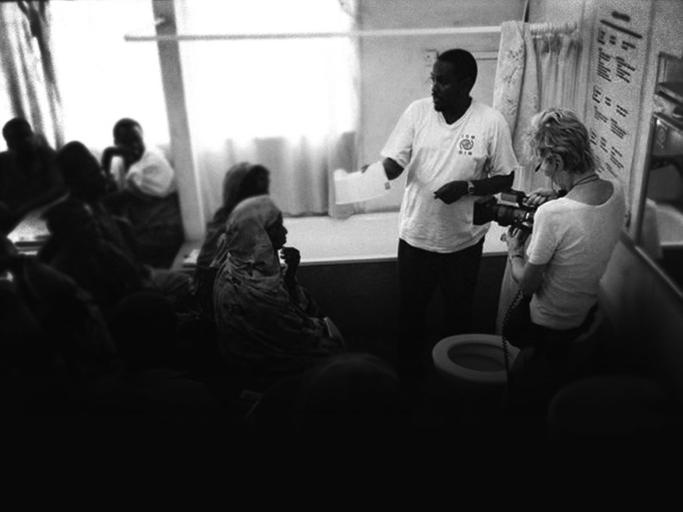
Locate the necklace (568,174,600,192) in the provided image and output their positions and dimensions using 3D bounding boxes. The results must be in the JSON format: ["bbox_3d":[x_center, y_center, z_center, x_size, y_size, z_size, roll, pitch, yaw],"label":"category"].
[{"bbox_3d":[0.712,-0.212,1.520,0.048,0.016,0.059,-13,-17,-37],"label":"necklace"}]

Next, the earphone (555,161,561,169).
[{"bbox_3d":[0.626,-0.262,1.514,0.014,0.019,0.006,1,11,41],"label":"earphone"}]

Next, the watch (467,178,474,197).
[{"bbox_3d":[0.454,-0.238,1.835,0.024,0.040,0.037,-3,-1,1],"label":"watch"}]

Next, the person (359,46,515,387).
[{"bbox_3d":[0.384,-0.128,1.919,0.438,1.166,0.218,-13,25,-24],"label":"person"}]

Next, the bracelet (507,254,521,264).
[{"bbox_3d":[0.570,0.009,1.727,0.027,0.033,0.033,2,-8,-7],"label":"bracelet"}]

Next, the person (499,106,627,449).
[{"bbox_3d":[0.733,0.122,1.706,0.347,1.166,0.201,-3,23,-2],"label":"person"}]
